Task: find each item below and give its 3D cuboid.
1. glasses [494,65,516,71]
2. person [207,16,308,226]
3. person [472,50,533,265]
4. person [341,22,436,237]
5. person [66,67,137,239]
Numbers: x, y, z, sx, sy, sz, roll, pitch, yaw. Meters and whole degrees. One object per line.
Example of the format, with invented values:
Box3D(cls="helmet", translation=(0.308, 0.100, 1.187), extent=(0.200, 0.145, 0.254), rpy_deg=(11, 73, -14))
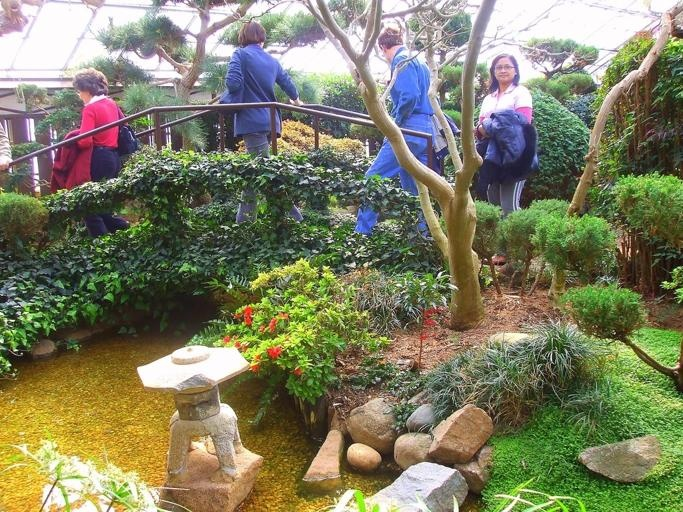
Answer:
Box3D(cls="glasses", translation=(1.745, -2.013, 5.522), extent=(0.201, 0.067, 0.072), rpy_deg=(1, 9, 11))
Box3D(cls="person", translation=(-1.050, -1.683, 6.519), extent=(0.663, 2.460, 0.988), rpy_deg=(6, 11, 39))
Box3D(cls="person", translation=(1.829, -1.030, 5.841), extent=(0.562, 2.316, 0.714), rpy_deg=(2, 9, 18))
Box3D(cls="person", translation=(0.655, -1.416, 6.009), extent=(0.960, 2.324, 1.138), rpy_deg=(4, 10, 27))
Box3D(cls="person", translation=(-3.081, -1.308, 6.702), extent=(0.595, 2.102, 0.509), rpy_deg=(-9, 12, -42))
